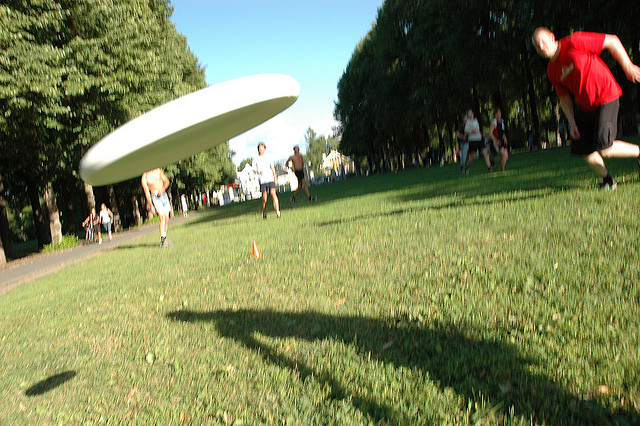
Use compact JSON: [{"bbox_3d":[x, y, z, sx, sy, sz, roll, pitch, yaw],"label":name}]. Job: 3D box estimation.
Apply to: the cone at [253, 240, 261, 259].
[{"bbox_3d":[-1.260,0.724,9.730,0.160,0.314,0.440,-7,4,-8],"label":"cone"}]
